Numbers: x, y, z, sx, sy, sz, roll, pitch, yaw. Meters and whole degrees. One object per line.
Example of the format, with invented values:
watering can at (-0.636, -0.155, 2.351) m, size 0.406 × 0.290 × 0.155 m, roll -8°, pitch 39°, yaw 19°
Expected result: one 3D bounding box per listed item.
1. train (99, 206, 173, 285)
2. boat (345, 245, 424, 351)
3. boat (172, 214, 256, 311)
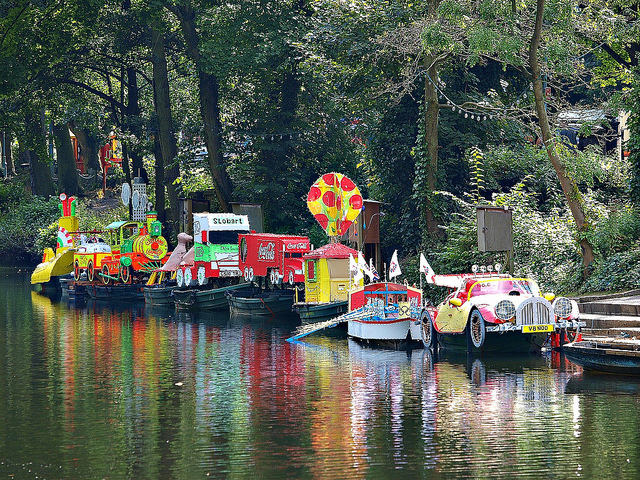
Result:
train at (-9.783, 0.259, 80.154) m, size 4.035 × 4.185 × 4.617 m, roll 0°, pitch -1°, yaw -31°
boat at (2.551, 2.347, 59.749) m, size 3.078 × 4.413 × 8.959 m, roll -2°, pitch -4°, yaw 1°
boat at (-5.818, 0.533, 73.345) m, size 2.749 × 3.743 × 7.076 m, roll 0°, pitch -4°, yaw -23°
